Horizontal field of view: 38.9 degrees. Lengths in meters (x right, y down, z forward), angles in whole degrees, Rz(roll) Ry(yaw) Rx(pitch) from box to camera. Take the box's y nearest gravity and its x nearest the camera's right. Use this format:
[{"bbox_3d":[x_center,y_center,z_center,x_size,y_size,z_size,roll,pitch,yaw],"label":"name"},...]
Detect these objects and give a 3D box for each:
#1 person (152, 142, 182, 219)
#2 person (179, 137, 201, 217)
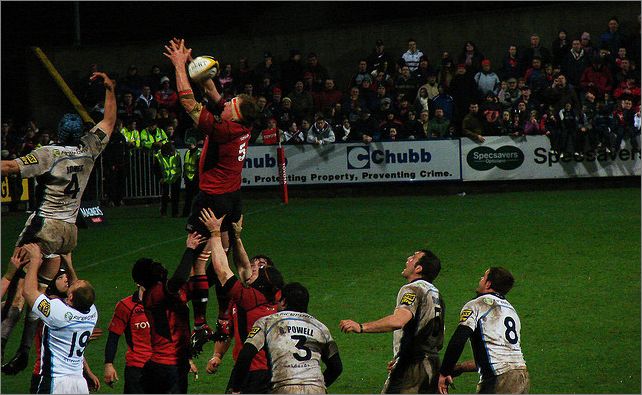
[{"bbox_3d":[-6.083,-0.729,36.162,1.124,2.888,0.920,0,-1,-2],"label":"person"},{"bbox_3d":[-5.092,-0.772,35.420,0.927,3.280,0.935,0,1,-37],"label":"person"}]
